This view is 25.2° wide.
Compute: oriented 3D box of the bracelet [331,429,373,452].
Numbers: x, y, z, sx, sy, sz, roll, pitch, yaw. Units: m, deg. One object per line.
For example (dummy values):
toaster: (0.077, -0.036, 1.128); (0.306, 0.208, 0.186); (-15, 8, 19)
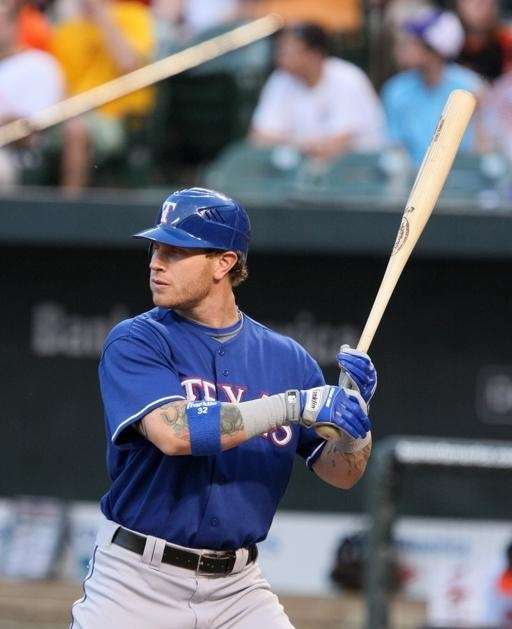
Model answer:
bracelet: (0.295, 0.389, 3.572); (0.105, 0.066, 0.085); (-2, 2, 10)

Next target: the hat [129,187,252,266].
hat: (-0.199, -0.282, 3.595); (0.310, 0.132, 0.214); (7, -1, -30)

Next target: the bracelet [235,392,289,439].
bracelet: (0.019, 0.296, 3.346); (0.145, 0.114, 0.084); (-2, 13, -12)
